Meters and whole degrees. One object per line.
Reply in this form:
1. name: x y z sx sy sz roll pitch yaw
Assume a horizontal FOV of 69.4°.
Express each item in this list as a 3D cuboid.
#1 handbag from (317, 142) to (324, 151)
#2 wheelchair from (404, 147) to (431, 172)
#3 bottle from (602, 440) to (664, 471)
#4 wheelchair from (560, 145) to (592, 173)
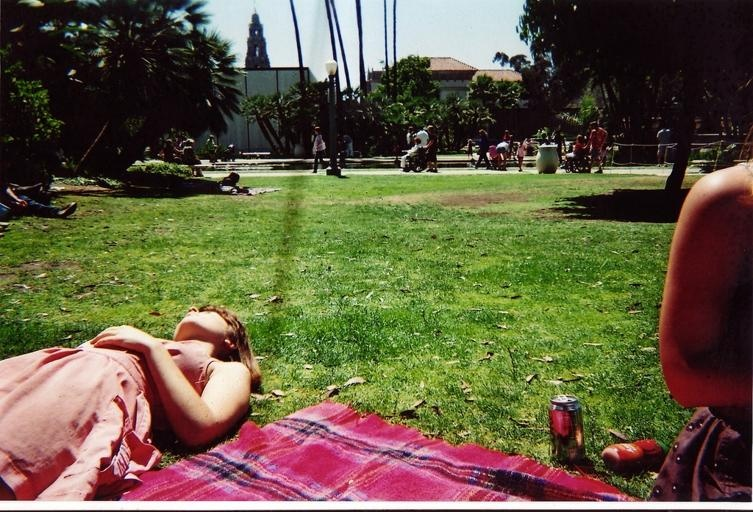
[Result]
1. handbag: -2.886 -5.582 27.620 0.425 0.433 0.914 -2 14 0
2. wheelchair: 2.076 -5.007 28.053 1.292 1.549 1.117 4 4 -5
3. bottle: 1.525 1.182 3.217 0.283 0.121 0.171 -6 23 -5
4. wheelchair: 9.534 -4.482 25.807 0.858 1.180 1.164 0 0 23
